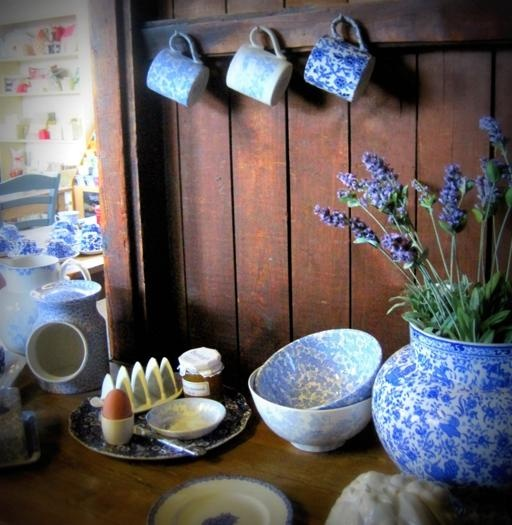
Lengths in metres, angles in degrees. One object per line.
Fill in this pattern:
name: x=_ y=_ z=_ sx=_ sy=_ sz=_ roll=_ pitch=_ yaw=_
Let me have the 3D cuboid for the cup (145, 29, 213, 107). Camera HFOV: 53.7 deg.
cup: x=-0.164 y=-0.412 z=1.073 sx=0.160 sy=0.155 sz=0.151 roll=-1 pitch=12 yaw=0

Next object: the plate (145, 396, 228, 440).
plate: x=-0.134 y=0.310 z=0.986 sx=0.149 sy=0.035 sz=0.157 roll=-1 pitch=7 yaw=-8

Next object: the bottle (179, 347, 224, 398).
bottle: x=-0.116 y=0.244 z=1.085 sx=0.089 sy=0.095 sz=0.097 roll=3 pitch=14 yaw=26

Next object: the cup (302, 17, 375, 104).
cup: x=0.153 y=-0.368 z=0.913 sx=0.117 sy=0.148 sz=0.151 roll=1 pitch=12 yaw=13

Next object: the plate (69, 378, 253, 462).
plate: x=-0.202 y=0.325 z=1.049 sx=0.385 sy=0.029 sz=0.285 roll=-1 pitch=13 yaw=2

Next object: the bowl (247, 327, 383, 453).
bowl: x=0.123 y=0.279 z=0.976 sx=0.231 sy=0.160 sz=0.208 roll=-16 pitch=25 yaw=0

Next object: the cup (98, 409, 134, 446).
cup: x=-0.268 y=0.320 z=0.974 sx=0.061 sy=0.054 sz=0.065 roll=3 pitch=1 yaw=0

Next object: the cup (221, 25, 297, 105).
cup: x=0.010 y=-0.377 z=0.958 sx=0.128 sy=0.148 sz=0.086 roll=8 pitch=14 yaw=37

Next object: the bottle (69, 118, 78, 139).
bottle: x=-1.579 y=-1.172 z=4.393 sx=0.064 sy=0.184 sz=0.043 roll=-5 pitch=11 yaw=-20
